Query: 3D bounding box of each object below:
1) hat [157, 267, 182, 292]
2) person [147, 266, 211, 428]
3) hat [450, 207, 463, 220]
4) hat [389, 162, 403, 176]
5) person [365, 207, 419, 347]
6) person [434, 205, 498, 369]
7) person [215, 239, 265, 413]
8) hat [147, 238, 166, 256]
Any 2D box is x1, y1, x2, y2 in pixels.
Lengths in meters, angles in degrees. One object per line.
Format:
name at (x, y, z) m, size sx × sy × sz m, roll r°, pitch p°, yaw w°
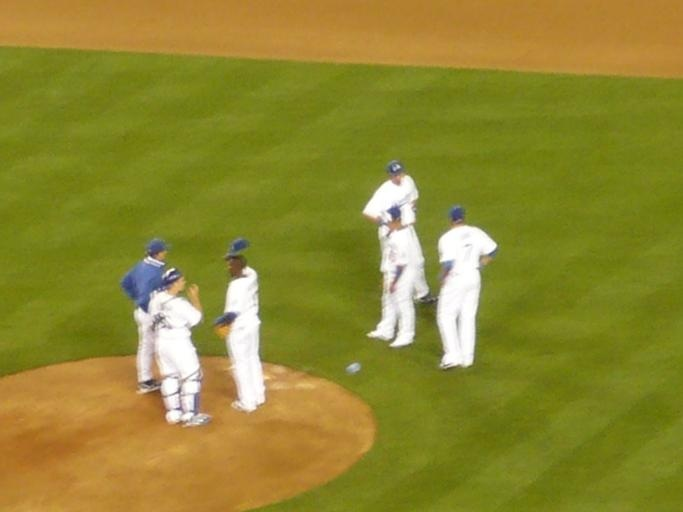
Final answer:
hat at (-3.808, 0.509, 31.268) m, size 0.370 × 0.559 × 0.419 m, roll 32°, pitch 11°, yaw -17°
person at (-3.568, 2.016, 31.282) m, size 0.881 × 3.265 × 1.446 m, roll -7°, pitch 22°, yaw -27°
hat at (2.626, -0.961, 32.537) m, size 0.315 × 0.313 × 0.279 m, roll 5°, pitch 20°, yaw 2°
hat at (1.255, -2.056, 33.516) m, size 0.364 × 0.313 × 0.257 m, roll 9°, pitch 21°, yaw 14°
person at (1.312, 0.518, 33.420) m, size 1.008 × 3.197 × 0.902 m, roll 7°, pitch 20°, yaw 10°
person at (2.739, 0.798, 32.619) m, size 1.149 × 3.515 × 0.993 m, roll 0°, pitch 20°, yaw -9°
person at (-2.183, 1.577, 31.468) m, size 1.100 × 3.655 × 0.921 m, roll 3°, pitch 20°, yaw -2°
hat at (-4.218, -0.204, 32.107) m, size 0.414 × 0.225 × 0.288 m, roll -38°, pitch 32°, yaw -26°
